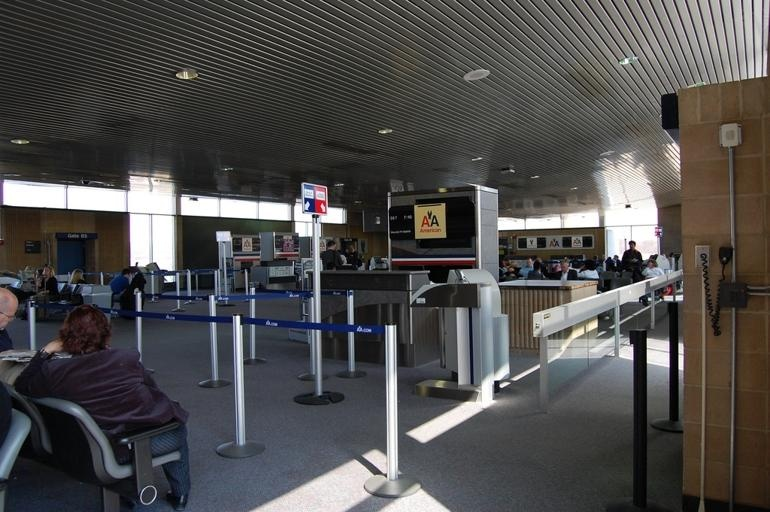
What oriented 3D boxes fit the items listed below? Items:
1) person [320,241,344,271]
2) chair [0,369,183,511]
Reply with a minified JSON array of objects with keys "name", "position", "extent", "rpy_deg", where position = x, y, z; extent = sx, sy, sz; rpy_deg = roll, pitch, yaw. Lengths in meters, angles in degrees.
[{"name":"person","position":[-1.193,-0.035,12.886],"extent":[0.481,0.627,1.566],"rpy_deg":[-3,2,-5]},{"name":"chair","position":[-2.132,1.310,4.256],"extent":[1.371,0.742,1.062],"rpy_deg":[2,1,38]}]
